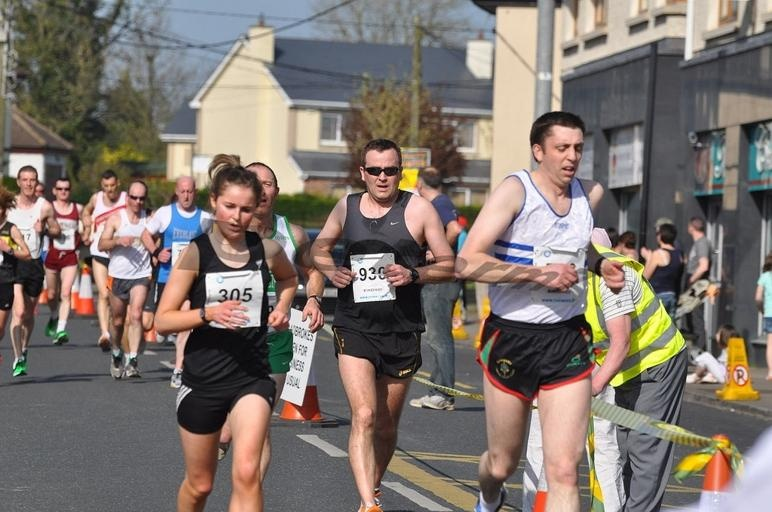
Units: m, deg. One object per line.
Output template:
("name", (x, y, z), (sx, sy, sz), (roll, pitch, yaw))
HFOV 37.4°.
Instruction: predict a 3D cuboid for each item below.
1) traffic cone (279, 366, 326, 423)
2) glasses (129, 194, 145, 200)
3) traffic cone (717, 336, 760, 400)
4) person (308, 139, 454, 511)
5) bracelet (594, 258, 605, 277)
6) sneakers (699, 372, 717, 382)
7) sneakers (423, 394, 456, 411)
("traffic cone", (-1.039, 1.592, 13.321), (0.594, 0.881, 0.535), (6, 2, -4))
("glasses", (-3.474, -0.801, 15.863), (0.210, 0.076, 0.161), (1, 5, -15))
("traffic cone", (4.758, 1.518, 15.280), (0.571, 0.747, 0.615), (4, 5, 16))
("person", (-0.114, 0.504, 10.076), (1.056, 3.042, 1.038), (7, 7, 43))
("bracelet", (1.730, 0.095, 9.256), (0.109, 0.129, 0.104), (0, 18, 27))
("sneakers", (4.768, 1.776, 16.633), (0.173, 0.139, 0.263), (0, 6, -29))
("sneakers", (0.652, 1.800, 14.122), (0.356, 0.156, 0.172), (5, 3, 9))
